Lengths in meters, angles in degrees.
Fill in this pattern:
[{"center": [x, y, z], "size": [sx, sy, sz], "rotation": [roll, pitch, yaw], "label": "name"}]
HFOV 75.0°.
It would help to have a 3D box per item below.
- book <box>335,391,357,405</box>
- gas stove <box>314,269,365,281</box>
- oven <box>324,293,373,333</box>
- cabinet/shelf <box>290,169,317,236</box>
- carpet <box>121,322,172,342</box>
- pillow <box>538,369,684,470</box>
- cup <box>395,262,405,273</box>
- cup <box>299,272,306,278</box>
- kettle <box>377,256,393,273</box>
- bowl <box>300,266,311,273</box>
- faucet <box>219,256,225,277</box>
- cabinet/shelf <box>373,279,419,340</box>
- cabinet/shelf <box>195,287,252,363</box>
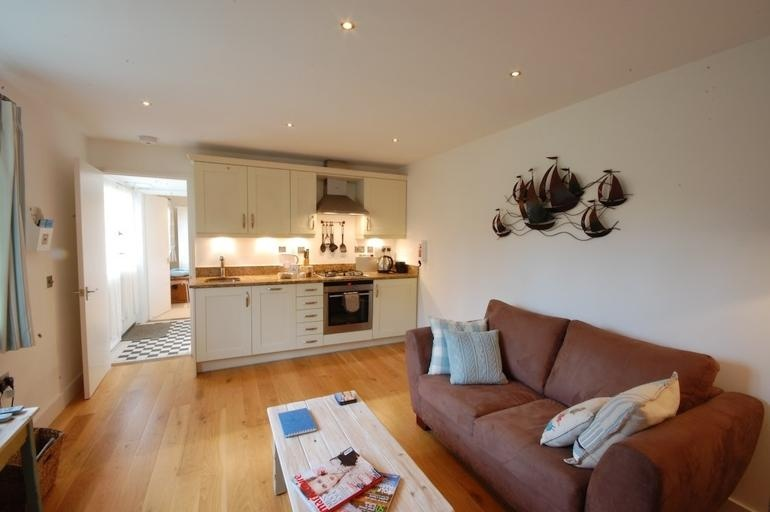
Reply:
[{"center": [-0.335, 1.184, 4.260], "size": [0.113, 0.036, 0.114], "rotation": [-1, 8, -14], "label": "book"}, {"center": [-0.576, 0.230, 6.366], "size": [0.659, 0.123, 0.795], "rotation": [-1, 1, -8], "label": "gas stove"}, {"center": [-0.494, 0.597, 6.301], "size": [0.638, 0.599, 0.438], "rotation": [-3, 14, -13], "label": "oven"}, {"center": [-1.015, -0.649, 6.142], "size": [0.318, 0.797, 0.087], "rotation": [-3, 3, -36], "label": "cabinet/shelf"}, {"center": [-3.336, 1.037, 7.016], "size": [0.564, 0.111, 0.999], "rotation": [-2, 1, -19], "label": "carpet"}, {"center": [1.597, 1.172, 3.594], "size": [0.937, 0.611, 0.335], "rotation": [-1, 2, 18], "label": "pillow"}, {"center": [0.200, 0.133, 6.688], "size": [0.196, 0.148, 0.080], "rotation": [0, 3, 36], "label": "cup"}, {"center": [-1.027, 0.226, 6.179], "size": [0.064, 0.056, 0.065], "rotation": [1, 6, 0], "label": "cup"}, {"center": [-0.007, 0.099, 6.784], "size": [0.199, 0.230, 0.201], "rotation": [0, 9, -8], "label": "kettle"}, {"center": [-1.021, 0.151, 6.447], "size": [0.162, 0.088, 0.329], "rotation": [-2, 1, -8], "label": "bowl"}, {"center": [-1.975, 0.115, 6.071], "size": [0.068, 0.254, 0.105], "rotation": [-2, 3, -23], "label": "faucet"}, {"center": [0.098, 0.642, 6.312], "size": [0.681, 0.788, 0.463], "rotation": [-2, 9, -22], "label": "cabinet/shelf"}, {"center": [-1.850, 0.760, 5.937], "size": [0.769, 1.108, 0.727], "rotation": [0, -1, -29], "label": "cabinet/shelf"}]
